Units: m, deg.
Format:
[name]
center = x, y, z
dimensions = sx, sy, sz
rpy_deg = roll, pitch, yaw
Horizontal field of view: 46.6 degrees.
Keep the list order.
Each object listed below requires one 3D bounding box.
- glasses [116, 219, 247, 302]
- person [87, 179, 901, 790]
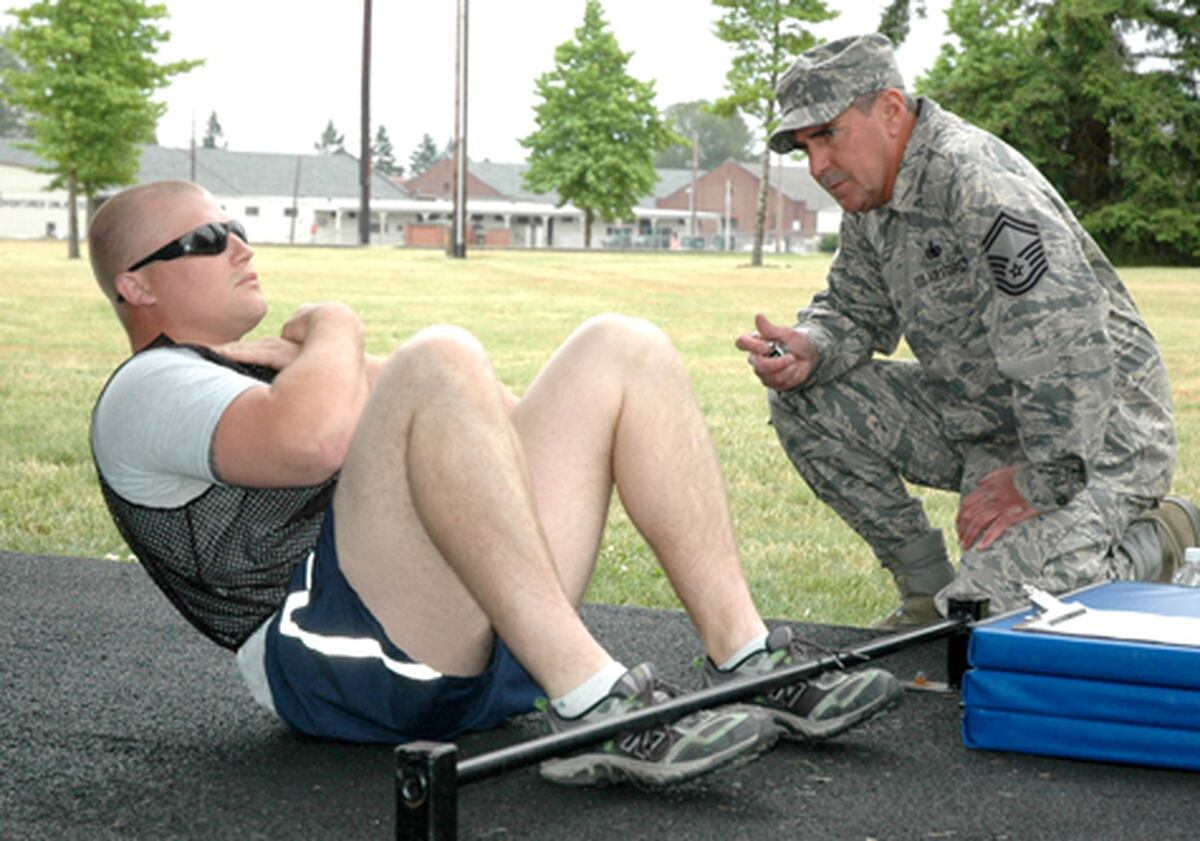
[glasses]
center = -1.012, -0.407, 3.390
dimensions = 0.245, 0.061, 0.204
rpy_deg = -23, 3, 7
[person]
center = -0.322, 0.075, 3.483
dimensions = 2.026, 1.326, 1.081
rpy_deg = 0, 5, 24
